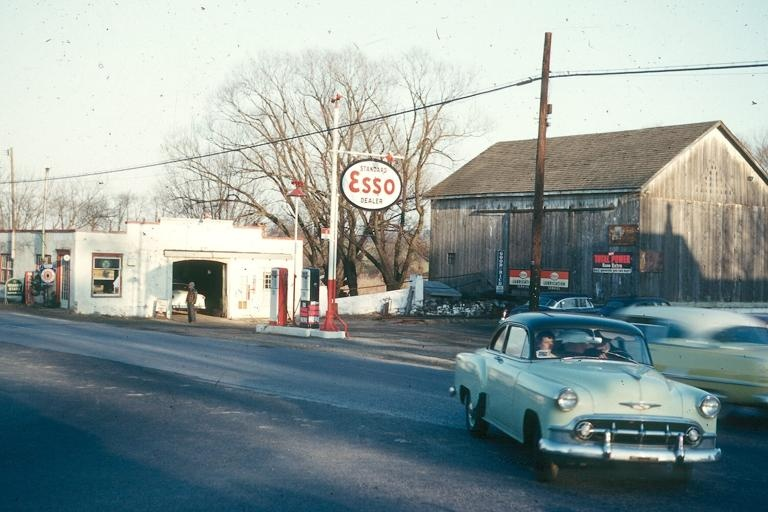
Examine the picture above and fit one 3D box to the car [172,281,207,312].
[{"bbox_3d":[-10.260,2.140,48.596,1.643,1.320,2.748,1,-2,-11],"label":"car"}]
